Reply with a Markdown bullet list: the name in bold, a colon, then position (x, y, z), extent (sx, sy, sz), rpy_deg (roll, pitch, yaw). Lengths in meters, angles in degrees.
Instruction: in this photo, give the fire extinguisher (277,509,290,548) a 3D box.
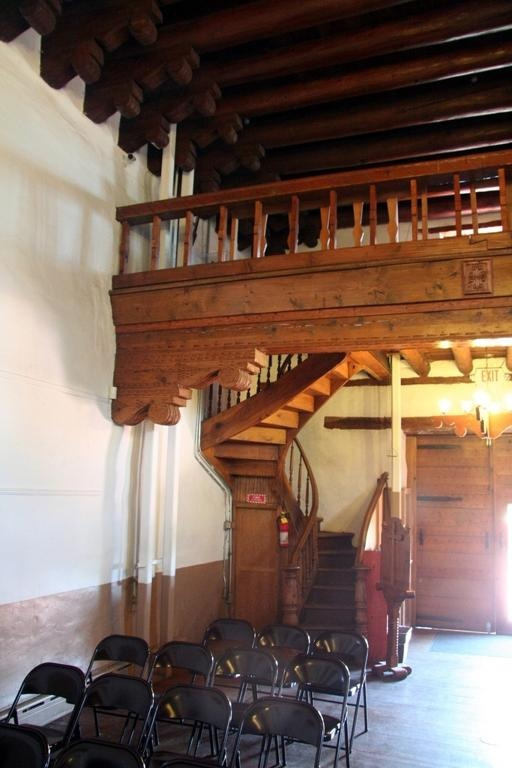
- **fire extinguisher**: position (0.306, 1.617, 7.322), extent (0.122, 0.392, 0.125), rpy_deg (2, -14, 5)
